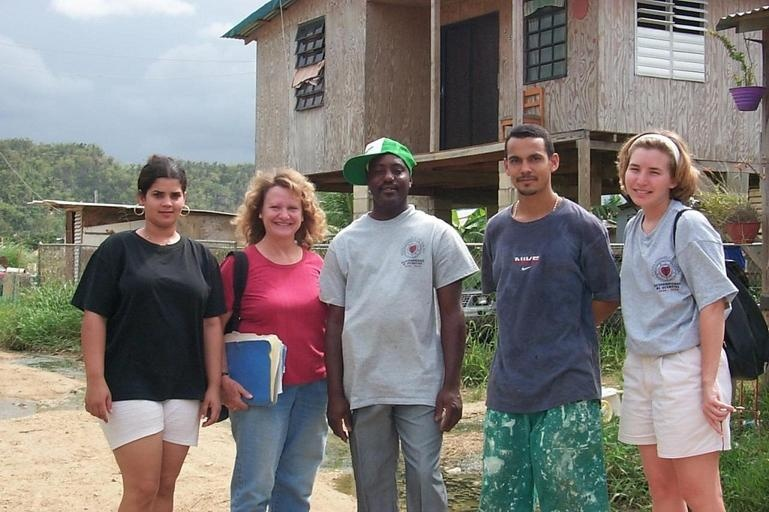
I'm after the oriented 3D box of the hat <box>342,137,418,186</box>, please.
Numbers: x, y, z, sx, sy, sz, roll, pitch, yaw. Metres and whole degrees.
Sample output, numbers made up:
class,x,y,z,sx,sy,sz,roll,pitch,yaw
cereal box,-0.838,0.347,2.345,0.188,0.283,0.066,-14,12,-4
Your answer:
class,x,y,z,sx,sy,sz,roll,pitch,yaw
hat,-0.035,-0.840,6.706,0.493,0.261,0.384,6,-39,-8

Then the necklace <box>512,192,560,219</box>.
class,x,y,z,sx,sy,sz,roll,pitch,yaw
necklace,1.136,-0.379,6.312,0.202,0.159,0.285,-19,0,14

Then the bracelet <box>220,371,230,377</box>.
class,x,y,z,sx,sy,sz,roll,pitch,yaw
bracelet,-1.249,0.925,6.491,0.050,0.038,0.051,-1,-2,-5

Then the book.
class,x,y,z,sx,sy,sz,roll,pitch,yaw
book,-0.983,0.862,6.419,0.522,0.533,0.178,2,2,23
